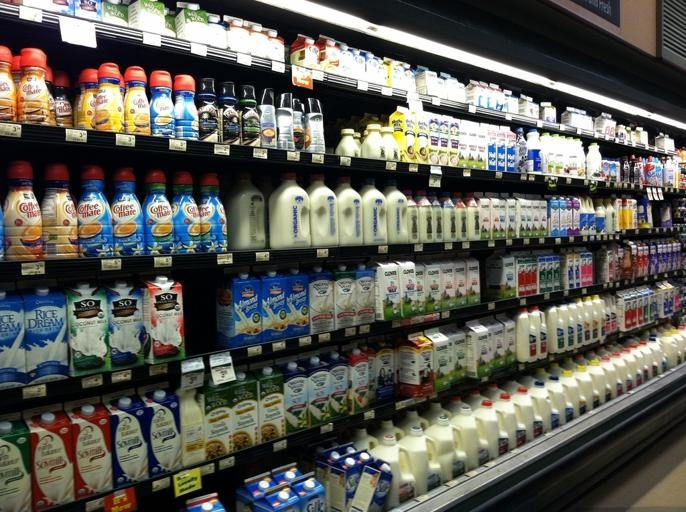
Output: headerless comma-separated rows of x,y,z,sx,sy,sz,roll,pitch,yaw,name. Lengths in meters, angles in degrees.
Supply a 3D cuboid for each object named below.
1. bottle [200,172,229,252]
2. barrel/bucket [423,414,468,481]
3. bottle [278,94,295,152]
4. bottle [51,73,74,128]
-0.724,-0.238,2.956,0.130,0.380,0.268,-7,4,-4,bottle
0.698,1.292,3.551,0.254,0.367,0.217,-5,-2,-29,barrel/bucket
-0.343,-0.783,3.114,0.105,0.277,0.203,-7,4,2,bottle
-1.416,-0.788,2.672,0.092,0.281,0.054,-9,4,-34,bottle
